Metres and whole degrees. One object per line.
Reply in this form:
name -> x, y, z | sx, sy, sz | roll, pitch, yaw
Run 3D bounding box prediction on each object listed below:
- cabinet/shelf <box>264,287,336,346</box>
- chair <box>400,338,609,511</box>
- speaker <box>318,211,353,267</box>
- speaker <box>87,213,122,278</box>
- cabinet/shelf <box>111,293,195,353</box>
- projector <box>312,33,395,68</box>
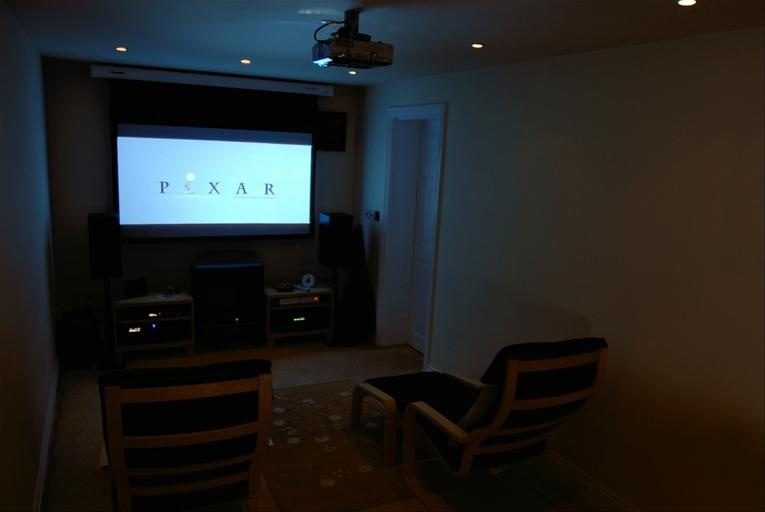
cabinet/shelf -> -0.930, 0.635, 6.356 | 0.896, 0.640, 0.566 | -2, 5, -23
chair -> 0.870, 1.213, 3.957 | 1.018, 1.354, 1.214 | -3, 10, -18
speaker -> -0.546, -0.183, 6.445 | 0.475, 0.599, 0.288 | 6, 11, 44
speaker -> -2.643, -0.097, 5.460 | 0.263, 0.602, 0.217 | -5, 9, -26
cabinet/shelf -> -2.358, 0.626, 5.967 | 0.989, 0.706, 0.508 | -3, 15, -21
projector -> -0.209, -1.406, 4.022 | 0.367, 0.160, 0.310 | -2, 9, -23
